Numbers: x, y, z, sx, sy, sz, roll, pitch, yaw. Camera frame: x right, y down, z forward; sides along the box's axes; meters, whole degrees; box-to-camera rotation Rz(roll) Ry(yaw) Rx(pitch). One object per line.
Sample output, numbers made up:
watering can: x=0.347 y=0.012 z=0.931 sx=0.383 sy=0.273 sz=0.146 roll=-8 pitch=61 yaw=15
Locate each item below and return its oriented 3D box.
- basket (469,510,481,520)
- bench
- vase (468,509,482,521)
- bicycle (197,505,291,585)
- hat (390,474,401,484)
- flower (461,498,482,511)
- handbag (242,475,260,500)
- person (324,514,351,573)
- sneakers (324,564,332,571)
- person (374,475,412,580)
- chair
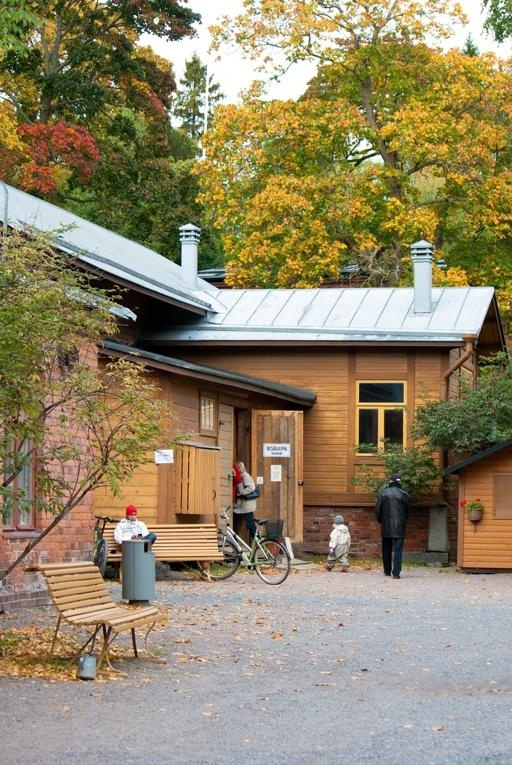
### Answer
basket: x=4.087 y=2.475 z=18.096 sx=0.193 sy=0.167 sz=0.196 roll=1 pitch=0 yaw=44
bench: x=-1.511 y=2.604 z=14.958 sx=1.896 sy=0.799 sz=0.710 roll=2 pitch=-6 yaw=-11
vase: x=4.105 y=2.486 z=18.108 sx=0.229 sy=0.203 sz=0.223 roll=0 pitch=2 yaw=-36
bicycle: x=-0.179 y=2.629 z=15.587 sx=1.892 sy=1.142 sz=0.867 roll=-5 pitch=0 yaw=40
hat: x=2.585 y=1.753 z=17.591 sx=0.217 sy=0.148 sz=0.345 roll=7 pitch=-4 yaw=12
flower: x=4.052 y=2.257 z=18.178 sx=0.249 sy=0.134 sz=0.246 roll=2 pitch=1 yaw=-36
handbag: x=-0.129 y=1.933 z=17.990 sx=0.465 sy=0.437 sz=0.239 roll=-2 pitch=-10 yaw=-9
person: x=1.489 y=2.956 z=17.875 sx=0.402 sy=1.026 sz=0.987 roll=0 pitch=-5 yaw=4
sneakers: x=1.310 y=3.385 z=17.732 sx=0.095 sy=0.097 sz=0.115 roll=1 pitch=-8 yaw=2
person: x=2.440 y=2.560 z=17.430 sx=0.610 sy=1.798 sz=1.423 roll=0 pitch=-5 yaw=8
chair: x=-1.331 y=1.909 z=8.106 sx=0.821 sy=0.788 sz=1.257 roll=-1 pitch=-8 yaw=8
